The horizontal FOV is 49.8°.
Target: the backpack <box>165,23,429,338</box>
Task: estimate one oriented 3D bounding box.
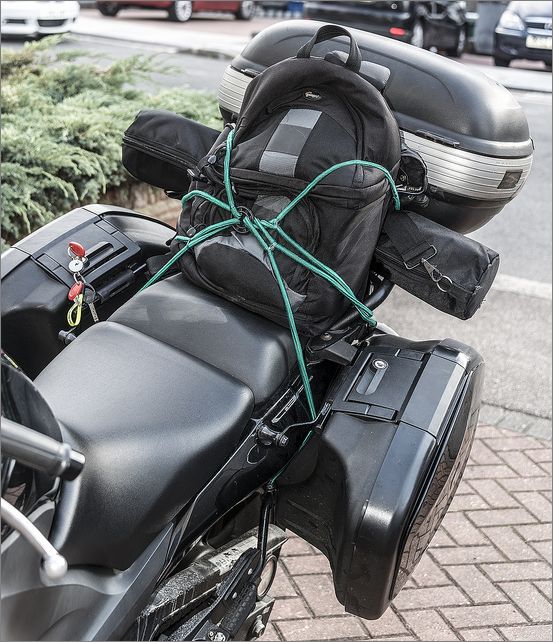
[{"bbox_3d":[0.062,-0.388,1.642,0.669,0.775,0.433,26,31,31],"label":"backpack"}]
